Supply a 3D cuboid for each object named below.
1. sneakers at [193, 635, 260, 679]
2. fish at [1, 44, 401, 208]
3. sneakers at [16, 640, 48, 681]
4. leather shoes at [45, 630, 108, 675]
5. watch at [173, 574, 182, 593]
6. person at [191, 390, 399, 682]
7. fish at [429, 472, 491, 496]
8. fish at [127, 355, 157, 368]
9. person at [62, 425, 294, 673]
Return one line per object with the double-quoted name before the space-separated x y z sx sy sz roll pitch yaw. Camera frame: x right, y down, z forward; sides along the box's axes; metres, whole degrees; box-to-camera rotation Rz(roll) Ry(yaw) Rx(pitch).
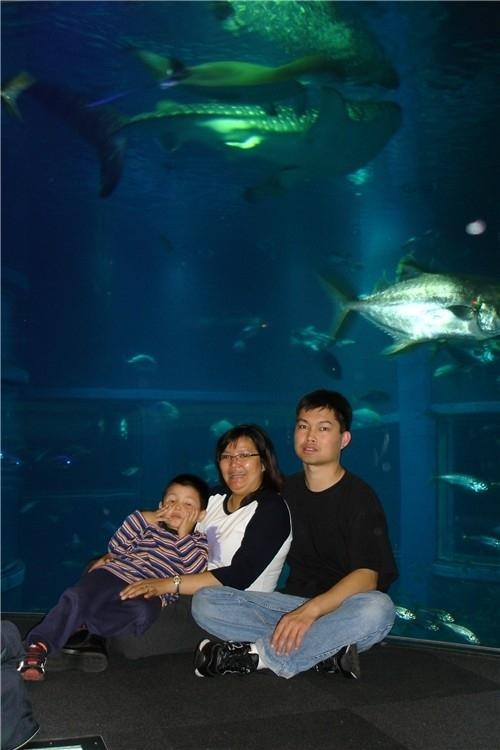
"sneakers" -0.070 1.155 2.563 0.293 0.114 0.118 3 -7 -22
"fish" -0.055 -1.917 5.881 3.865 1.164 1.828 -4 11 -8
"sneakers" -0.794 1.059 2.312 0.087 0.110 0.154 4 -9 -13
"leather shoes" -0.726 1.167 2.643 0.229 0.151 0.204 4 -9 -17
"watch" -0.321 0.919 2.742 0.034 0.068 0.024 3 -9 -7
"person" 0.175 0.643 2.705 0.748 1.204 0.589 8 -11 -35
"fish" 1.626 0.822 4.839 0.118 0.139 0.330 13 7 -36
"fish" -1.054 -0.134 6.243 0.190 0.144 0.305 -1 -9 15
"person" -0.307 0.721 2.882 1.090 0.990 0.624 10 -6 -32
